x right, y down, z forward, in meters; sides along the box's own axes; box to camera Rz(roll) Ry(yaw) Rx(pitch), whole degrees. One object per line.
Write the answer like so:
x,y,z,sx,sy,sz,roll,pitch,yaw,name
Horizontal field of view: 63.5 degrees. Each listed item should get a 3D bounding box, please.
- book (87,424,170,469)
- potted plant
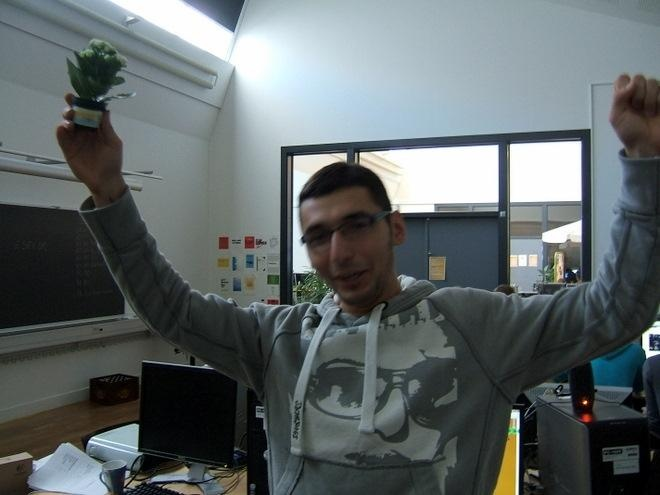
-1.075,1.007,2.715,0.221,0.058,0.229,4,1,43,book
-0.770,-0.547,1.802,0.180,0.275,0.231,9,7,13,potted plant
